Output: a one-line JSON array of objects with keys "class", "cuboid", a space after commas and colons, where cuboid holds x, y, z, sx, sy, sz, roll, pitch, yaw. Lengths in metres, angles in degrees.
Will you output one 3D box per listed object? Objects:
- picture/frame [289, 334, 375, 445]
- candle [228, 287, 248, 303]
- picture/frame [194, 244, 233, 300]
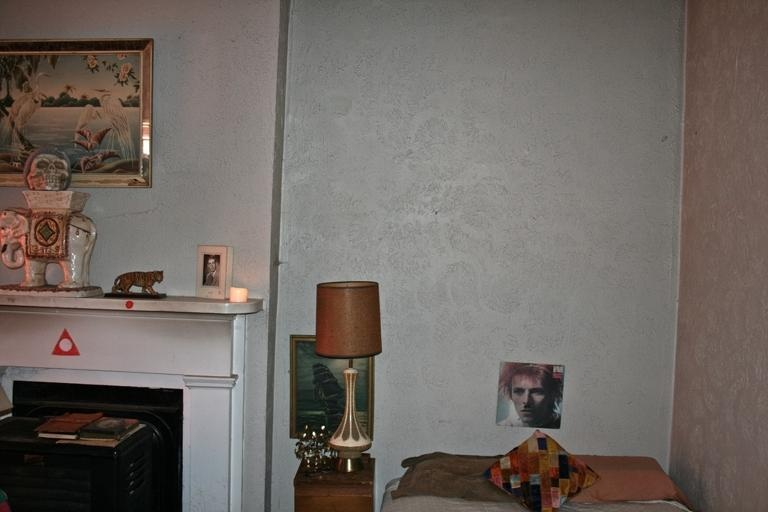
[{"class": "picture/frame", "cuboid": [-0.319, 0.819, 4.665, 0.725, 0.844, 0.033, 1, 3, -4]}, {"class": "candle", "cuboid": [-0.851, 0.236, 4.447, 0.094, 0.070, 0.094, 0, 4, -22]}, {"class": "picture/frame", "cuboid": [-1.001, 0.108, 4.503, 0.321, 0.422, 0.068, 0, -5, 7]}]
